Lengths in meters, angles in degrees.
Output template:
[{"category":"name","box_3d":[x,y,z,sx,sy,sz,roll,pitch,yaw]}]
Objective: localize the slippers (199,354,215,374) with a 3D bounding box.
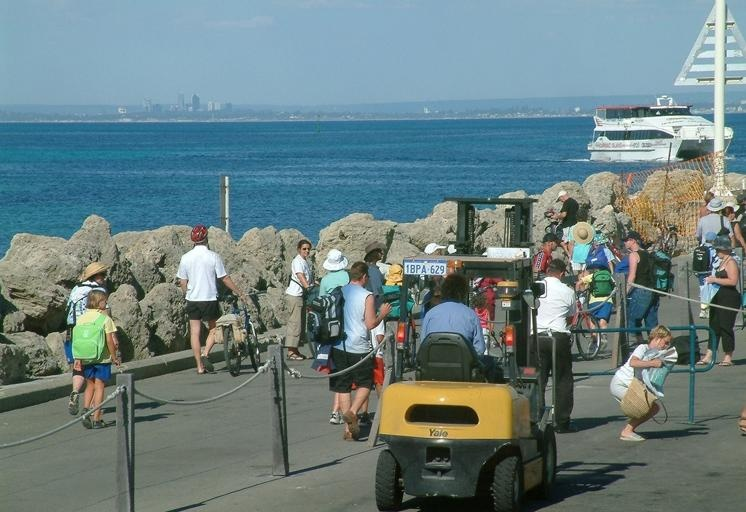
[{"category":"slippers","box_3d":[-3.396,2.205,33.633,0.223,0.456,0.194,-13,31,11]}]

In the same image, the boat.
[{"category":"boat","box_3d":[18.660,-8.500,111.026,5.193,4.581,14.376,-2,6,-15]}]

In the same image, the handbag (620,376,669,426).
[{"category":"handbag","box_3d":[4.963,2.578,29.842,0.862,0.624,0.358,16,28,12]}]

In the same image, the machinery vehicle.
[{"category":"machinery vehicle","box_3d":[1.845,1.639,28.423,2.673,5.223,3.441,2,7,22]}]

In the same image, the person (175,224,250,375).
[{"category":"person","box_3d":[-3.396,0.833,34.071,1.189,2.980,1.410,-1,6,-5]}]

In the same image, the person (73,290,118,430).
[{"category":"person","box_3d":[-5.106,1.909,30.620,0.851,2.410,1.113,0,1,4]}]

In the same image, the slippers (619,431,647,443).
[{"category":"slippers","box_3d":[4.733,3.288,29.882,0.356,0.132,0.185,-1,1,5]}]

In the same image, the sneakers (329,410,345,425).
[{"category":"sneakers","box_3d":[-0.656,3.033,30.965,0.154,0.161,0.362,3,9,23]}]

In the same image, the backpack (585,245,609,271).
[{"category":"backpack","box_3d":[4.908,0.023,35.793,0.601,0.534,0.346,0,-4,42]}]
